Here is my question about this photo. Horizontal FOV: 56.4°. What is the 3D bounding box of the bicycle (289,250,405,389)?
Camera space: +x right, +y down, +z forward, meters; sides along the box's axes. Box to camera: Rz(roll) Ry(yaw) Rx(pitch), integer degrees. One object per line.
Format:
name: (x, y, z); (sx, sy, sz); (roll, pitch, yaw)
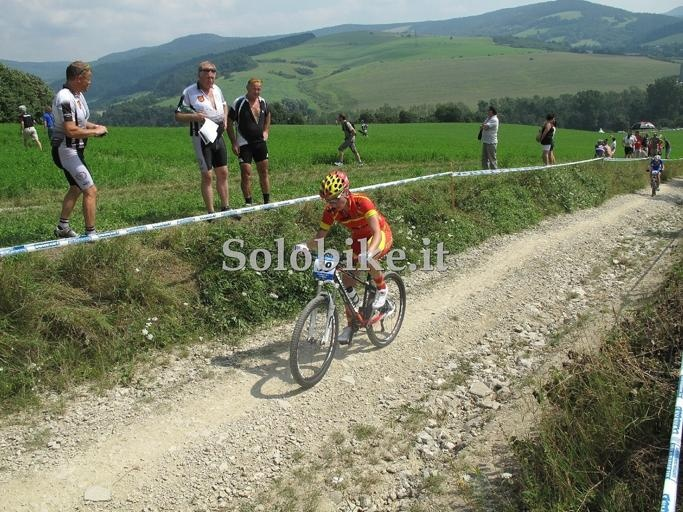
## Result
bicycle: (-0.139, 0.783, 10.084); (1.108, 1.727, 2.426); (4, 14, 34)

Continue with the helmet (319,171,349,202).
helmet: (-0.117, -0.998, 9.252); (0.476, 0.404, 0.349); (-14, 19, -17)

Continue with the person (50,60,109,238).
person: (-4.443, -1.734, 10.691); (1.026, 2.837, 0.694); (-15, 18, -28)
